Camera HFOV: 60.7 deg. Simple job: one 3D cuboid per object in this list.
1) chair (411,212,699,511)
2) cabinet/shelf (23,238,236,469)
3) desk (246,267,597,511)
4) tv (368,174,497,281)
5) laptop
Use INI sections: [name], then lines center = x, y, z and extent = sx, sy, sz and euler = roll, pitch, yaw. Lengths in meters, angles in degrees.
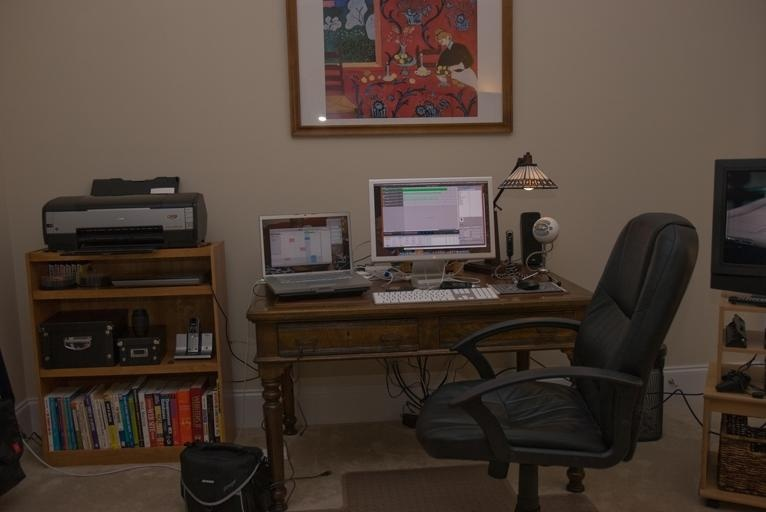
[chair]
center = 1.030, 0.494, 4.080
extent = 1.566, 2.268, 1.306
euler = 1, 0, 2
[cabinet/shelf]
center = -1.567, 0.605, 4.031
extent = 1.396, 1.640, 0.572
euler = -1, 0, -6
[desk]
center = 0.035, 0.485, 4.000
extent = 2.256, 1.361, 1.132
euler = -2, 4, -10
[tv]
center = 0.295, -0.171, 3.877
extent = 0.642, 0.454, 0.168
euler = -1, 3, -2
[laptop]
center = -0.444, -0.032, 3.856
extent = 0.559, 0.388, 0.510
euler = -2, 6, -18
